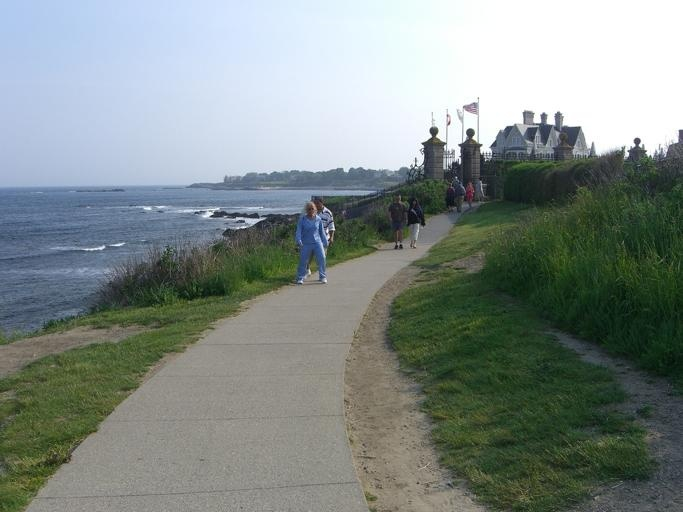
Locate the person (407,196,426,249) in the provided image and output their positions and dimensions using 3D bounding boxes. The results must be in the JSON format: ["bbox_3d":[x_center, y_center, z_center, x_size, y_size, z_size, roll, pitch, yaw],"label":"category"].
[{"bbox_3d":[2.517,-1.181,21.879,0.528,1.657,1.682,2,10,7],"label":"person"}]

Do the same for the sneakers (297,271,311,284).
[{"bbox_3d":[-0.930,0.487,15.126,0.113,0.194,0.432,2,30,9],"label":"sneakers"}]

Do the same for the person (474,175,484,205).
[{"bbox_3d":[8.367,-4.148,38.708,0.673,1.420,1.670,3,10,12],"label":"person"}]

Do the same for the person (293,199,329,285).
[{"bbox_3d":[-0.720,-0.362,15.284,0.761,1.940,1.268,0,9,-1],"label":"person"}]

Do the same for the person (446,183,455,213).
[{"bbox_3d":[5.666,-3.013,33.211,0.472,1.341,1.565,2,10,10],"label":"person"}]
